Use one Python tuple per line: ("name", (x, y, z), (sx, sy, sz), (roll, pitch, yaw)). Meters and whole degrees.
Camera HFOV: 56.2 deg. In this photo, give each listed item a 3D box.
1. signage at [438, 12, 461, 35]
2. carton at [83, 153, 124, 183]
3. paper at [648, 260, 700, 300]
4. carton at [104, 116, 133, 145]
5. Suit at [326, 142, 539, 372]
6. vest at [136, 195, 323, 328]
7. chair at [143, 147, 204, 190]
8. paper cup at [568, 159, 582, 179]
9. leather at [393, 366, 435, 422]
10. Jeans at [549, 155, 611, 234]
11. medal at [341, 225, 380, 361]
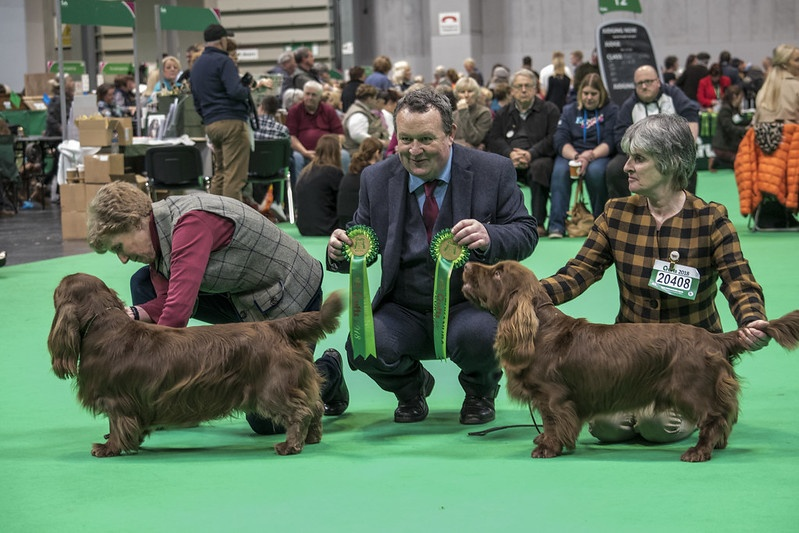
("signage", (1.593, -7.868, 24.161), (0.609, 0.690, 0.064), (-1, 10, 3))
("carton", (-3.759, -1.234, 9.484), (0.422, 0.487, 0.341), (0, 3, 2))
("paper", (1.332, 0.057, 3.614), (0.156, 0.121, 0.008), (18, -2, 25))
("carton", (-3.694, -1.790, 9.914), (0.236, 0.305, 0.464), (0, -1, -5))
("Suit", (0.228, -0.070, 4.451), (1.298, 1.686, 1.084), (-1, -2, 9))
("vest", (-0.829, -0.004, 3.872), (0.754, 0.628, 0.580), (1, -3, -13))
("chair", (-2.768, -1.220, 9.348), (0.495, 0.737, 0.587), (0, 23, -4))
("paper cup", (2.038, -1.126, 8.755), (0.132, 0.223, 0.237), (-2, 11, -2))
("leather", (0.079, 0.751, 4.284), (0.120, 0.174, 0.384), (-3, 7, 10))
("Jeans", (2.053, -0.944, 9.070), (0.593, 0.958, 1.049), (-2, 32, 5))
("medal", (-0.194, 0.145, 3.979), (0.182, 0.706, 0.278), (-2, 11, -2))
